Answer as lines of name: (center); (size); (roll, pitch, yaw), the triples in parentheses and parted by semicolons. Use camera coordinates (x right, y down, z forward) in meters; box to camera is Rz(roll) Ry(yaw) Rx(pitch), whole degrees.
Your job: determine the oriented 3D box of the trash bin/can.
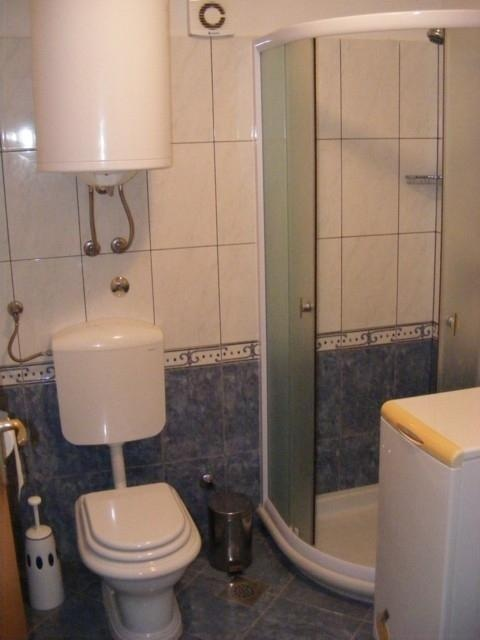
trash bin/can: (-0.049, 0.828, 2.221); (0.154, 0.286, 0.226); (-1, 3, -5)
